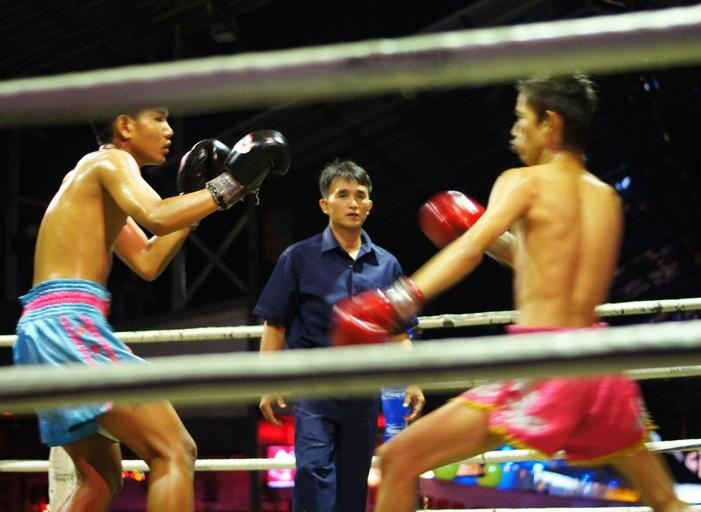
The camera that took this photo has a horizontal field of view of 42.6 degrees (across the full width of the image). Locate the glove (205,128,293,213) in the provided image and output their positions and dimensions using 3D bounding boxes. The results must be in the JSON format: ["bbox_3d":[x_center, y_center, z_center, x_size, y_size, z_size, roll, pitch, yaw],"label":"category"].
[{"bbox_3d":[-0.370,-0.338,3.358,0.367,0.220,0.156,-41,-17,-7],"label":"glove"}]

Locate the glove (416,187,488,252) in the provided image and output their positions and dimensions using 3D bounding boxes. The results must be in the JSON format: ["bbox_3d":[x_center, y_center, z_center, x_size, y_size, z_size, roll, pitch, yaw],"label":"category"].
[{"bbox_3d":[0.357,-0.146,3.337,0.256,0.172,0.139,-12,-27,38],"label":"glove"}]

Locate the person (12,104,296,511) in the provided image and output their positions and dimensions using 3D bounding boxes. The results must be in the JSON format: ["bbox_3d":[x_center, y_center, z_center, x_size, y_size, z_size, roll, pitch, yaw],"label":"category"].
[{"bbox_3d":[-0.753,0.177,3.228,0.599,1.456,0.724,-5,-6,40],"label":"person"}]
